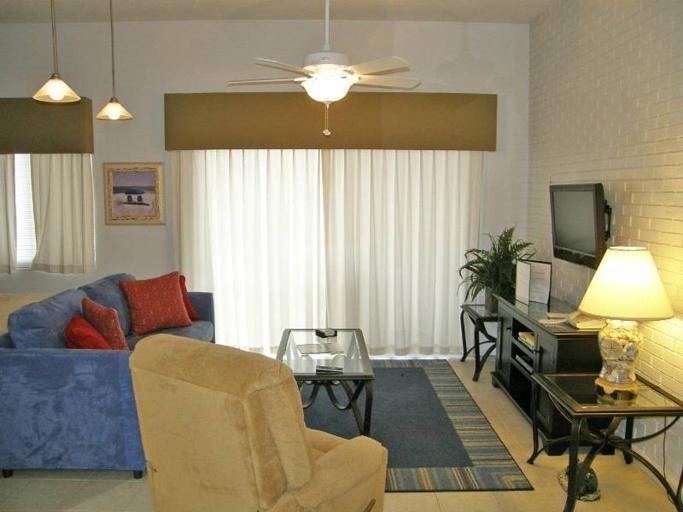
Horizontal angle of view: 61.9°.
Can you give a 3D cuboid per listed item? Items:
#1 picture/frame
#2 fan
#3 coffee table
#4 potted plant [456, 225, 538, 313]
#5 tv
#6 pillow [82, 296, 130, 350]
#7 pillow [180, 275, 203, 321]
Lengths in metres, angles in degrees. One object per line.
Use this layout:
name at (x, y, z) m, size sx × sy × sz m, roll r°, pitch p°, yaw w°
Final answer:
picture/frame at (-2.234, -0.710, 6.154) m, size 0.614 × 0.695 × 0.046 m, roll 0°, pitch 4°, yaw -3°
fan at (-0.052, -1.126, 3.589) m, size 0.887 × 0.622 × 0.926 m, roll 4°, pitch 8°, yaw 26°
coffee table at (-0.110, 0.884, 4.604) m, size 0.675 × 0.486 × 1.042 m, roll 0°, pitch 10°, yaw -5°
potted plant at (1.562, 0.097, 5.779) m, size 0.767 × 0.822 × 0.784 m, roll -2°, pitch 8°, yaw -9°
tv at (1.969, -0.251, 4.668) m, size 0.242 × 0.681 × 0.682 m, roll -2°, pitch 6°, yaw -7°
pillow at (-1.822, 0.520, 4.383) m, size 0.129 × 0.286 × 0.370 m, roll -8°, pitch 12°, yaw -35°
pillow at (-1.492, 0.425, 5.564) m, size 0.105 × 0.361 × 0.359 m, roll -19°, pitch 1°, yaw -10°
